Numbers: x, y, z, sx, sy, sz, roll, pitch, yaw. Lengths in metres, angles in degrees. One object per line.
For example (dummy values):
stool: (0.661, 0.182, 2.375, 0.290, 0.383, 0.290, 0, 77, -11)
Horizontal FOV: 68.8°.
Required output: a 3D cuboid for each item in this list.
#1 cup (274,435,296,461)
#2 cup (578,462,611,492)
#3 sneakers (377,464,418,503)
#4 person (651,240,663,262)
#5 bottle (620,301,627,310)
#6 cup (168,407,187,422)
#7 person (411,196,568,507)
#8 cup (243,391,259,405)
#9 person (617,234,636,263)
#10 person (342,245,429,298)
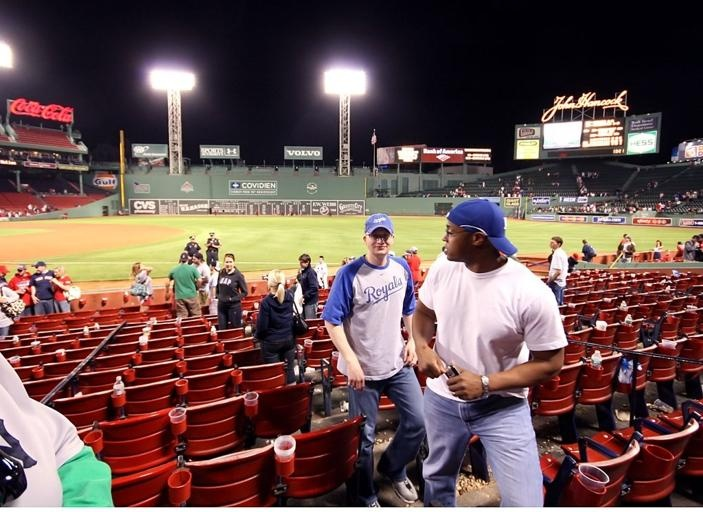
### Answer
cup: (-0.702, 2.038, 5.465, 0.229, 0.216, 0.234, 0, -3, 0)
cup: (2.466, 2.268, 5.374, 0.246, 0.223, 0.330, 2, 14, -23)
sneakers: (0.621, 2.783, 6.199, 0.570, 0.220, 0.258, 30, 32, 34)
person: (12.539, -0.238, 21.039, 0.357, 0.881, 2.221, 1, 8, 31)
bottle: (5.434, 0.999, 10.244, 0.096, 0.164, 0.115, -5, 8, -15)
cup: (-2.075, 1.896, 6.143, 0.201, 0.163, 0.215, -2, 7, 0)
person: (1.364, 1.117, 5.314, 1.481, 3.395, 0.676, 0, 7, 20)
cup: (-1.237, 1.758, 6.314, 0.151, 0.156, 0.146, 0, 10, 0)
person: (10.786, -0.285, 20.177, 0.527, 1.114, 1.173, 0, 8, 24)
person: (1.106, 0.466, 15.966, 2.211, 1.071, 1.571, -1, 2, 4)
